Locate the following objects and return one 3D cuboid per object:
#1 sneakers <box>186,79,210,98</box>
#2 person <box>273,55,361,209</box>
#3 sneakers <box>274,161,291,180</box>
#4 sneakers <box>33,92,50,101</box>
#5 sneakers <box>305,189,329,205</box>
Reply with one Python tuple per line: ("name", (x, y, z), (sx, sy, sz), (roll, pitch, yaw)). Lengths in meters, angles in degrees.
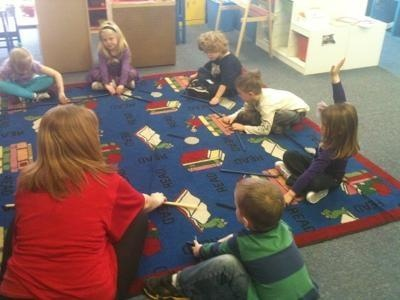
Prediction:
("sneakers", (-0.018, -0.556, 3.150), (0.216, 0.070, 0.151), (11, 40, 10))
("person", (0.740, -0.037, 2.156), (0.469, 0.563, 0.702), (12, 32, 20))
("sneakers", (0.551, 0.132, 2.258), (0.049, 0.057, 0.139), (-40, 57, 8))
("sneakers", (-1.374, -0.472, 2.998), (0.151, 0.060, 0.048), (-2, 40, -16))
("sneakers", (0.708, 0.283, 2.079), (0.161, 0.057, 0.071), (-23, 8, -12))
